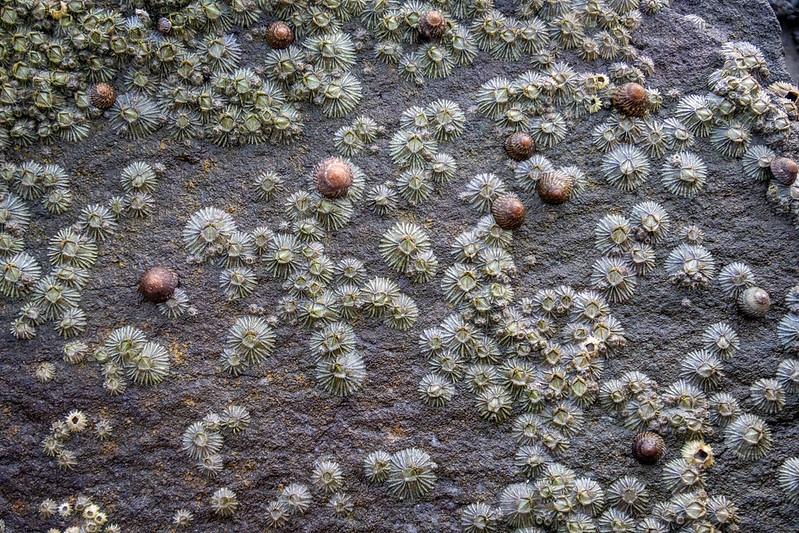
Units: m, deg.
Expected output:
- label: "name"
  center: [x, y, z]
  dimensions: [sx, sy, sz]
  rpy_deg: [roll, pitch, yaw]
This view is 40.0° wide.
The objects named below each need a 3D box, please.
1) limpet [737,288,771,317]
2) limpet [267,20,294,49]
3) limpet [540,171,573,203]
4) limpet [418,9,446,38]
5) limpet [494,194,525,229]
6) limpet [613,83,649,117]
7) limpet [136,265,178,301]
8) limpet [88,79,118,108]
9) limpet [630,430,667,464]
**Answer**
- label: "limpet"
  center: [3.923, 0.407, 12.149]
  dimensions: [0.309, 0.142, 0.327]
  rpy_deg: [1, 81, -20]
- label: "limpet"
  center: [-1.354, -2.563, 12.315]
  dimensions: [0.273, 0.104, 0.292]
  rpy_deg: [5, 90, -9]
- label: "limpet"
  center: [1.759, -0.871, 12.275]
  dimensions: [0.403, 0.191, 0.362]
  rpy_deg: [-6, 84, -4]
- label: "limpet"
  center: [0.375, -2.706, 12.431]
  dimensions: [0.321, 0.187, 0.293]
  rpy_deg: [23, 82, -1]
- label: "limpet"
  center: [1.223, -0.602, 12.207]
  dimensions: [0.378, 0.195, 0.402]
  rpy_deg: [1, 83, -4]
- label: "limpet"
  center: [2.642, -1.860, 12.430]
  dimensions: [0.448, 0.180, 0.343]
  rpy_deg: [15, 83, -2]
- label: "limpet"
  center: [-2.634, 0.206, 11.982]
  dimensions: [0.419, 0.155, 0.390]
  rpy_deg: [-14, 85, -5]
- label: "limpet"
  center: [-3.317, -1.864, 12.213]
  dimensions: [0.268, 0.095, 0.251]
  rpy_deg: [1, 83, -4]
- label: "limpet"
  center: [2.716, 1.958, 11.864]
  dimensions: [0.364, 0.135, 0.350]
  rpy_deg: [1, 83, -4]
